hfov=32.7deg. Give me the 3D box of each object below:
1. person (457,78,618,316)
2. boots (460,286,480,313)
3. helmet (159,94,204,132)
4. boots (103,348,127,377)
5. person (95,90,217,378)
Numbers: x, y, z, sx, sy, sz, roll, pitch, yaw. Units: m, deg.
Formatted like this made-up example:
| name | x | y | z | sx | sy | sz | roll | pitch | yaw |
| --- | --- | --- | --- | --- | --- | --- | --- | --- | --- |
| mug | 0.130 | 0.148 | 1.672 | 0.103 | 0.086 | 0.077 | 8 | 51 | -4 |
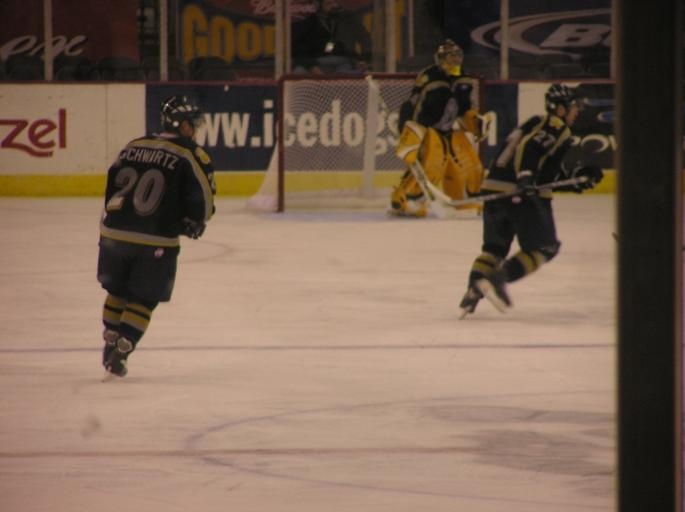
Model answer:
| name | x | y | z | sx | sy | sz | roll | pitch | yaw |
| --- | --- | --- | --- | --- | --- | --- | --- | --- | --- |
| person | 1.029 | -0.298 | 6.476 | 0.738 | 1.304 | 0.518 | 0 | 12 | 0 |
| boots | 0.719 | 0.247 | 6.456 | 0.092 | 0.138 | 0.061 | 22 | 50 | -8 |
| helmet | -0.780 | -0.676 | 5.527 | 0.169 | 0.177 | 0.172 | 6 | -7 | 20 |
| boots | -1.037 | 0.481 | 5.348 | 0.101 | 0.124 | 0.147 | 13 | 30 | -20 |
| person | -0.864 | -0.086 | 5.429 | 0.553 | 1.277 | 0.373 | -3 | 13 | -13 |
